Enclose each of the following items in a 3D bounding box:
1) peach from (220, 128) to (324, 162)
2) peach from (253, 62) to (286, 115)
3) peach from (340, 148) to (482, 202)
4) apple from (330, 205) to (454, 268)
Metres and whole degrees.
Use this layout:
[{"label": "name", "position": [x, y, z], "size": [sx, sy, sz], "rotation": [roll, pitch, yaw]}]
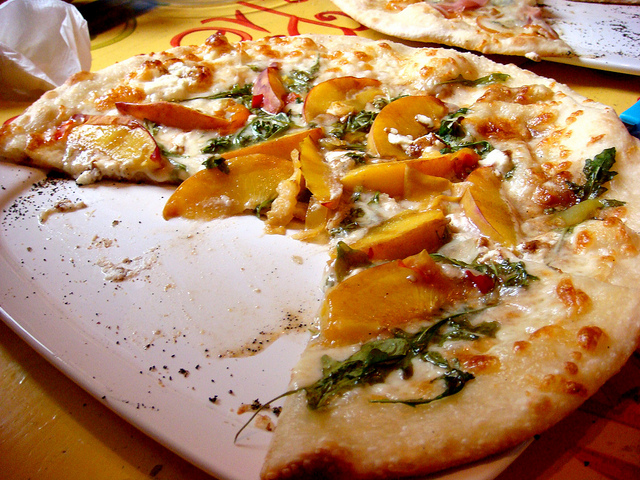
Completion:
[{"label": "peach", "position": [-0.168, -0.351, 2.117], "size": [0.370, 0.057, 0.105], "rotation": [-21, 100, -1]}, {"label": "peach", "position": [-0.215, -0.628, 2.400], "size": [0.139, 0.085, 0.288], "rotation": [-11, 60, -1]}, {"label": "peach", "position": [0.248, -0.283, 2.057], "size": [0.419, 0.084, 0.325], "rotation": [15, 29, 42]}, {"label": "apple", "position": [0.226, -0.009, 1.770], "size": [0.408, 0.072, 0.173], "rotation": [-13, 29, -7]}]
